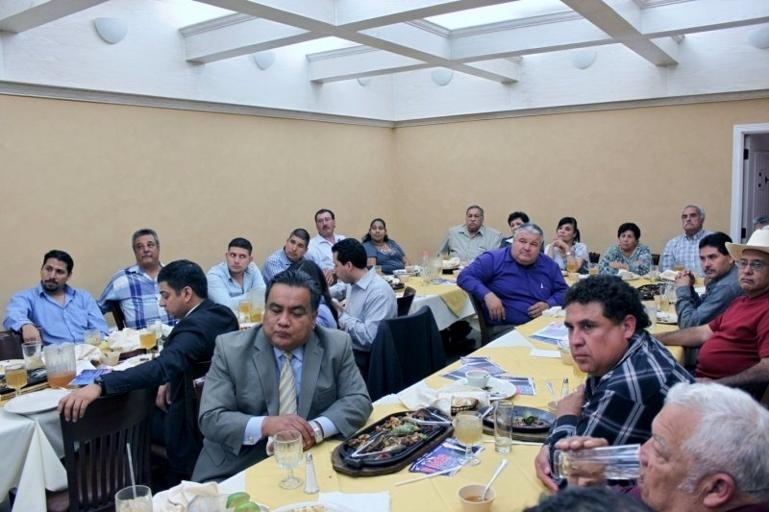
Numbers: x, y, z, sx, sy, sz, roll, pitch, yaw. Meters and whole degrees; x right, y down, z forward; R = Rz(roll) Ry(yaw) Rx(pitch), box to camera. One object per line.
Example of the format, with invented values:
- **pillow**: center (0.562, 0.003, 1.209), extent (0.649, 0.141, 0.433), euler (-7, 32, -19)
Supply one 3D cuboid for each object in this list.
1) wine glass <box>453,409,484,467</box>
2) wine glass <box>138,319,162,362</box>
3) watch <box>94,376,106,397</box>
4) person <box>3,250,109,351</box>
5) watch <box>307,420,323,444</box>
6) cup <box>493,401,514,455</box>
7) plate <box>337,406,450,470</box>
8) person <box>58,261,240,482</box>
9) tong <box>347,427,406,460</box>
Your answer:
- **wine glass**: center (0.393, 0.817, 2.432), extent (0.120, 0.221, 0.186), euler (-3, 2, 12)
- **wine glass**: center (-1.673, 0.610, 3.755), extent (0.182, 0.455, 0.176), euler (1, 2, -24)
- **watch**: center (-1.563, 0.720, 2.891), extent (0.050, 0.073, 0.080), euler (14, 15, 15)
- **person**: center (-2.948, 0.399, 4.651), extent (0.685, 0.948, 0.542), euler (-1, -18, -39)
- **watch**: center (-0.323, 0.857, 2.578), extent (0.067, 0.106, 0.102), euler (-7, 6, -41)
- **cup**: center (0.557, 0.791, 2.461), extent (0.088, 0.229, 0.122), euler (-3, 2, 11)
- **plate**: center (0.051, 0.864, 2.468), extent (0.223, 0.055, 0.387), euler (8, 16, 42)
- **person**: center (-1.511, 0.729, 3.326), extent (0.832, 1.529, 1.164), euler (10, 5, -3)
- **tong**: center (-0.032, 0.864, 2.421), extent (0.092, 0.026, 0.148), euler (11, 18, 44)
